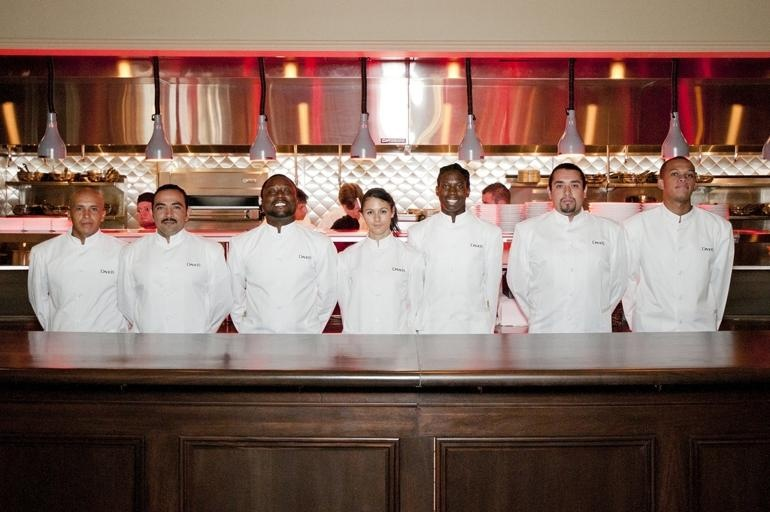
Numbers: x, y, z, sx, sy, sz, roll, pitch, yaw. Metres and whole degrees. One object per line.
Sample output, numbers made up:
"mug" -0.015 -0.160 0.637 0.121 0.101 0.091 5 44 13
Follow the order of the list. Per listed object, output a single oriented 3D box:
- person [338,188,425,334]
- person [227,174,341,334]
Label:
"person" -0.030 0.037 5.267 0.547 0.897 0.255 -1 8 1
"person" -0.642 -0.006 5.319 0.686 0.989 0.224 -2 8 -10
